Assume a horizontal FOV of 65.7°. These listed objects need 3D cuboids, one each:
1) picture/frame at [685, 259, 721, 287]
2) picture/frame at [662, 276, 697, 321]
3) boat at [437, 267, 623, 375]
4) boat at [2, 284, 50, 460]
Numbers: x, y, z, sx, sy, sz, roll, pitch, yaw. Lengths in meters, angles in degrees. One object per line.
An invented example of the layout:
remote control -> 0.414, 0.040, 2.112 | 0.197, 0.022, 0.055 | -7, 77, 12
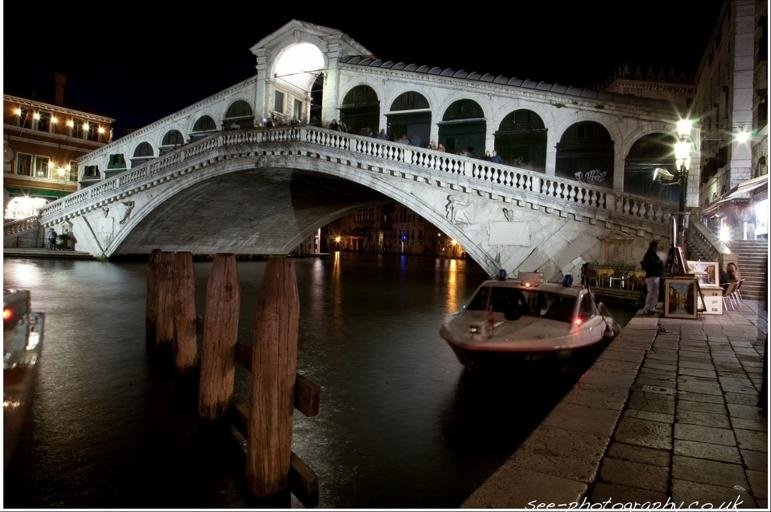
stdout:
picture/frame -> 9.815, 0.562, 18.391 | 0.090, 1.037, 0.866 | 1, 1, -45
picture/frame -> 8.665, 1.148, 17.413 | 0.923, 1.209, 0.787 | -1, 25, 28
boat -> 2.946, 1.431, 12.636 | 3.397, 1.649, 2.005 | -3, 14, -15
boat -> -5.604, 1.833, 9.100 | 0.508, 2.473, 1.270 | -4, 14, -19
